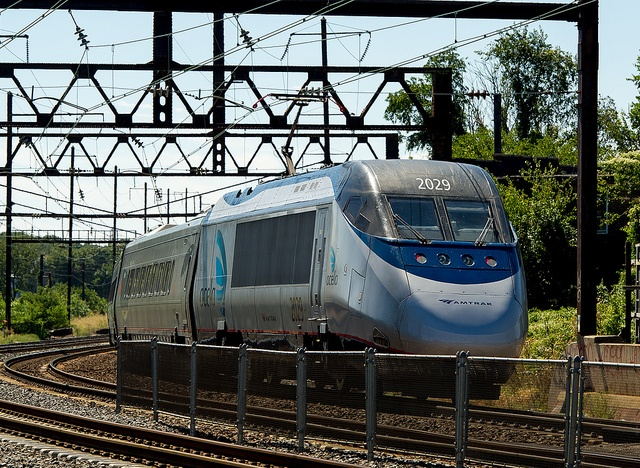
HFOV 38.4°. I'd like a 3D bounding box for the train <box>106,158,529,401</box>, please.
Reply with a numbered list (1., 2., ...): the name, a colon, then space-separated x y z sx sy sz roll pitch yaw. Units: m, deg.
1. train: -1.559 0.914 26.501 3.990 4.543 18.982 2 -5 -23
